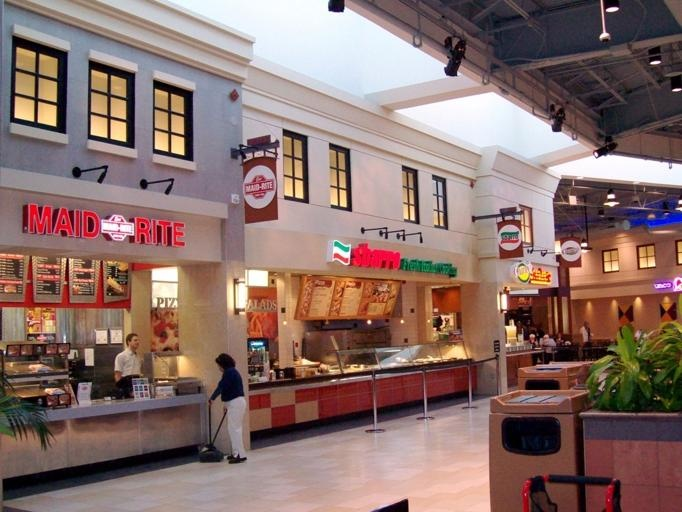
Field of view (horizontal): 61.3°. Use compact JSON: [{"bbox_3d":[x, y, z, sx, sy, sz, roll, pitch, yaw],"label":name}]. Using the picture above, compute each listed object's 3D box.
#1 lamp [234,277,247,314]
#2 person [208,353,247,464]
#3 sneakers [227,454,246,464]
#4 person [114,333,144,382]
[{"bbox_3d":[-1.805,0.699,10.244,0.098,0.653,0.264,-8,-9,41],"label":"lamp"},{"bbox_3d":[-1.868,2.498,9.585,0.570,1.772,0.346,1,-8,-22],"label":"person"},{"bbox_3d":[-1.727,3.323,9.486,0.323,0.138,0.110,4,-8,-5],"label":"sneakers"},{"bbox_3d":[-3.827,1.801,10.357,0.389,0.822,0.564,-4,-7,16],"label":"person"}]
